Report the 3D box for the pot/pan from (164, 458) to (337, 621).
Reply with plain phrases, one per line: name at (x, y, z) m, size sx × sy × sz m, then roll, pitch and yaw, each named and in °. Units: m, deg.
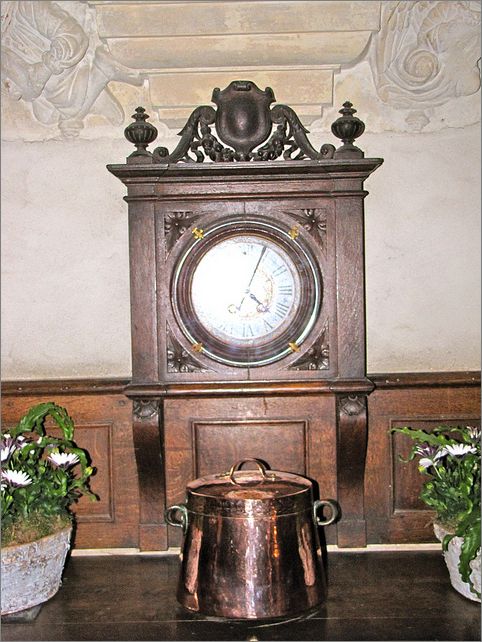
pot/pan at (0.047, 0.836, 3.033) m, size 0.574 × 0.604 × 0.533 m, roll -11°, pitch 15°, yaw -37°
